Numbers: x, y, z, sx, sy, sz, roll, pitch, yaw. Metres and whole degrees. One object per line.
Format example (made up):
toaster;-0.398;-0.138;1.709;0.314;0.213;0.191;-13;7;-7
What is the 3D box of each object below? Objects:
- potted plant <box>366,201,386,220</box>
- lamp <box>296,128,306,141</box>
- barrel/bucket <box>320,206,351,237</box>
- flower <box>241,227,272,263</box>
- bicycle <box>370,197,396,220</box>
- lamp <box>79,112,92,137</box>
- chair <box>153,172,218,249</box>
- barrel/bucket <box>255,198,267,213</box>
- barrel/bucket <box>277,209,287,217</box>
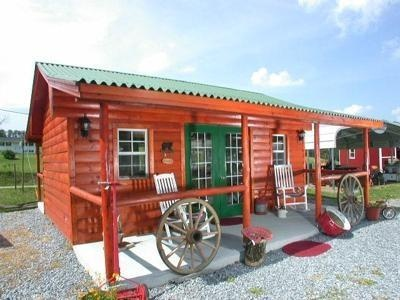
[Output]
potted plant;5.183;1.779;8.798;0.599;0.634;0.457;3;-6;-15
lamp;3.499;-0.519;10.302;0.326;0.389;0.215;-5;6;-35
barrel/bucket;3.337;1.816;7.464;0.699;0.675;0.615;-3;5;-16
flower;1.163;2.018;6.373;0.628;0.678;0.607;-4;7;-43
bicycle;5.439;1.748;9.125;0.879;0.830;0.532;4;-4;-25
lamp;-2.645;-0.555;6.944;0.253;0.556;0.219;-4;5;-23
chair;-0.301;1.223;7.334;1.497;2.323;1.265;-8;-6;35
barrel/bucket;1.782;1.659;9.057;0.368;0.444;0.389;-1;1;0
barrel/bucket;2.345;1.822;8.684;0.180;0.174;0.217;1;-2;-38
